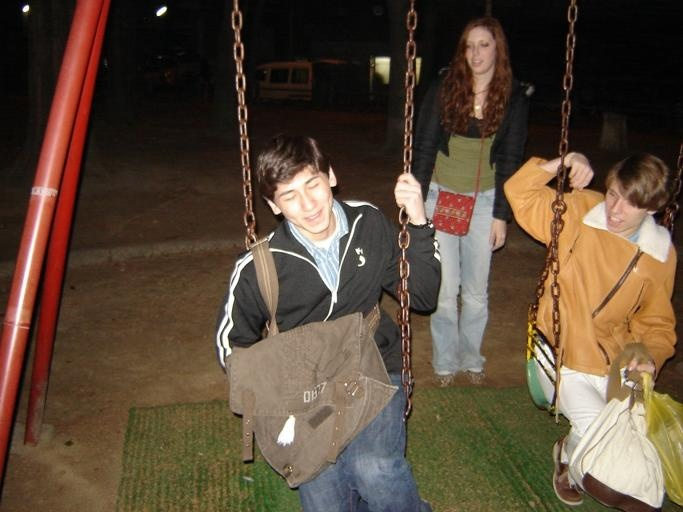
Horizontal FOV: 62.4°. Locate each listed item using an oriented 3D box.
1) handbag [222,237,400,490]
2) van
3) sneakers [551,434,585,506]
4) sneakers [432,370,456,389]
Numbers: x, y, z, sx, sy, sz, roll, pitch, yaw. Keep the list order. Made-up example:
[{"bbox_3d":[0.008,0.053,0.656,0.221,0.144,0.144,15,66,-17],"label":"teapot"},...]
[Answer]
[{"bbox_3d":[-0.146,0.696,2.797,0.816,0.749,0.389,-2,18,-13],"label":"handbag"},{"bbox_3d":[-1.654,-6.151,19.568,2.683,1.403,1.729,0,31,1],"label":"van"},{"bbox_3d":[1.354,1.320,3.536,0.146,0.181,0.420,-2,44,5],"label":"sneakers"},{"bbox_3d":[0.788,0.953,4.404,0.103,0.144,0.057,1,2,-2],"label":"sneakers"}]
